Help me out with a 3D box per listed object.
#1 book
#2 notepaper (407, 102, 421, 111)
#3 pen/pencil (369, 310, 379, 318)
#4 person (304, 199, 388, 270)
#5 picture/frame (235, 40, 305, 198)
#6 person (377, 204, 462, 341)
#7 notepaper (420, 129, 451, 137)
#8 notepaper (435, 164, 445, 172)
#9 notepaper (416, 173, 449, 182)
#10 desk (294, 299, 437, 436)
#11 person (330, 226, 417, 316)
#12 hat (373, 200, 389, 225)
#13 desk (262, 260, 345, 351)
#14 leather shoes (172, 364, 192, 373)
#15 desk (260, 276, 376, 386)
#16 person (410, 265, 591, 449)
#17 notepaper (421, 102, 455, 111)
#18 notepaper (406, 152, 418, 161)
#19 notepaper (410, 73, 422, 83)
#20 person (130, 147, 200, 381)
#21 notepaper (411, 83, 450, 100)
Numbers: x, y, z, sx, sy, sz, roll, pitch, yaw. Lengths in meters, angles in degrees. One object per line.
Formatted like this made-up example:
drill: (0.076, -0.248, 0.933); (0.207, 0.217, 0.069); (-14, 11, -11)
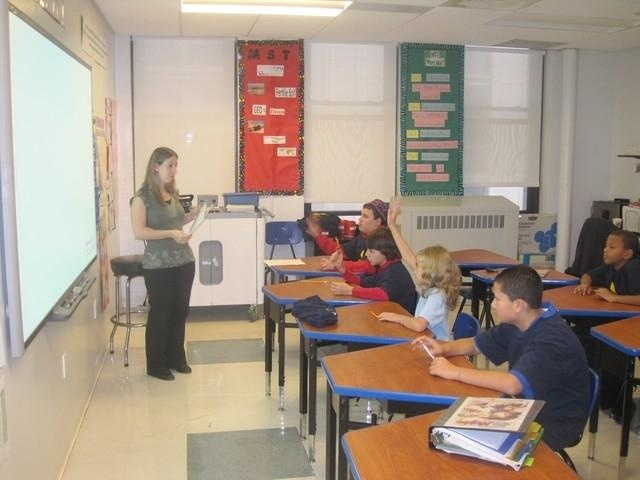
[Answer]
book: (0.650, 0.760, 2.296); (0.281, 0.098, 0.295); (-2, 7, 29)
notepaper: (1.173, -1.678, 7.208); (0.110, 0.079, 0.015); (0, 2, -7)
pen/pencil: (0.347, 0.472, 3.675); (0.014, 0.014, 0.109); (-10, 27, -19)
person: (0.284, -0.095, 5.888); (0.826, 0.952, 0.723); (7, 15, 19)
picture/frame: (-0.592, -1.483, 6.985); (0.787, 1.837, 0.196); (-2, 11, -14)
person: (0.626, 0.315, 3.778); (0.458, 1.044, 0.555); (-11, 17, -18)
notepaper: (1.466, -1.357, 7.305); (0.362, 0.108, 0.016); (0, 7, -12)
notepaper: (1.553, -0.923, 7.383); (0.115, 0.109, 0.028); (3, -1, -6)
notepaper: (1.451, -0.805, 7.322); (0.392, 0.108, 0.014); (1, 1, -8)
desk: (0.253, 0.859, 3.712); (0.944, 0.896, 0.804); (-1, 4, -15)
person: (0.330, 0.192, 4.498); (0.616, 0.966, 0.597); (1, 5, -6)
hat: (0.593, -0.258, 5.389); (0.171, 0.205, 0.227); (5, 12, 13)
desk: (-0.181, 0.454, 5.436); (0.941, 0.881, 0.802); (-3, 6, -16)
leather shoes: (-1.203, 1.122, 5.022); (0.165, 0.071, 0.072); (1, 2, 10)
desk: (0.029, 0.476, 4.552); (1.029, 0.961, 0.784); (-2, 3, -18)
person: (0.898, 0.574, 3.352); (0.998, 1.383, 0.851); (0, 7, 8)
notepaper: (1.507, -1.677, 7.272); (0.466, 0.112, 0.019); (-2, 11, -12)
notepaper: (1.160, -1.072, 7.294); (0.110, 0.078, 0.015); (0, -1, -4)
notepaper: (1.193, -2.028, 7.168); (0.116, 0.083, 0.016); (-1, 2, -16)
person: (-1.280, 0.222, 4.776); (0.500, 1.949, 0.377); (-5, 12, -27)
notepaper: (1.403, -1.866, 7.236); (0.495, 0.191, 0.047); (-3, 11, -17)
